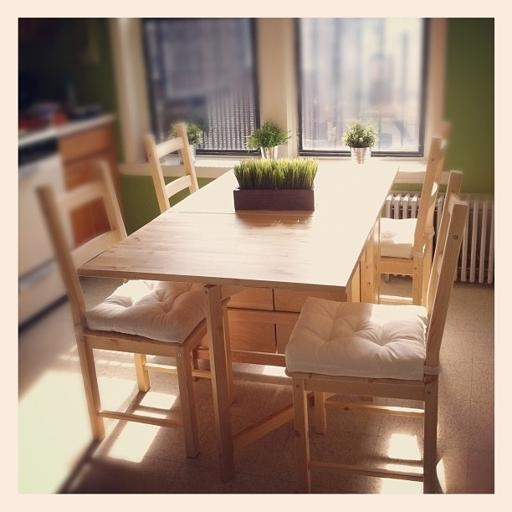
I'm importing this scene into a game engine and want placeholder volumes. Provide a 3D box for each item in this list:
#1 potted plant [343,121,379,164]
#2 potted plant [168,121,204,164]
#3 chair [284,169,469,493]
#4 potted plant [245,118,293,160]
[{"bbox_3d":[0.676,-0.743,2.938,0.213,0.264,0.221,-10,20,-36],"label":"potted plant"},{"bbox_3d":[-0.435,-0.750,2.951,0.217,0.283,0.221,-2,16,-6],"label":"potted plant"},{"bbox_3d":[0.367,0.254,1.439,0.532,0.947,0.539,8,18,35],"label":"chair"},{"bbox_3d":[0.070,-0.782,3.033,0.286,0.229,0.194,-2,21,-1],"label":"potted plant"}]
